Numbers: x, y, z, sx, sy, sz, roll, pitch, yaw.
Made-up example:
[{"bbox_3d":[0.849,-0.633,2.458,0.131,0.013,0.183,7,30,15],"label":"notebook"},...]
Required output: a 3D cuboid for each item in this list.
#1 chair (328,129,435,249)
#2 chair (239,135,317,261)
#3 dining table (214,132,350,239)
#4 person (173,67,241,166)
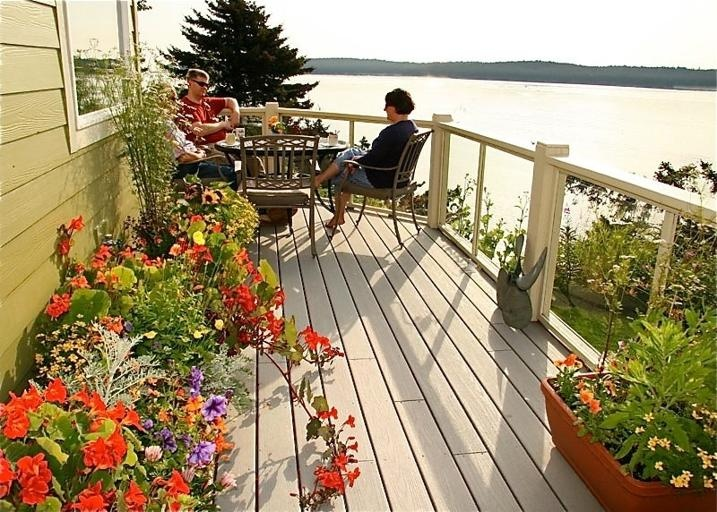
[{"bbox_3d":[0.278,-0.804,5.126,0.977,1.246,1.117,-2,22,-16],"label":"chair"},{"bbox_3d":[-0.832,-0.528,4.842,0.704,1.264,0.810,1,-8,-21],"label":"chair"},{"bbox_3d":[-0.765,-0.357,4.887,1.281,1.074,1.551,-2,57,-7],"label":"dining table"},{"bbox_3d":[-1.866,-1.828,5.723,0.703,0.947,0.611,-9,25,-35],"label":"person"}]
